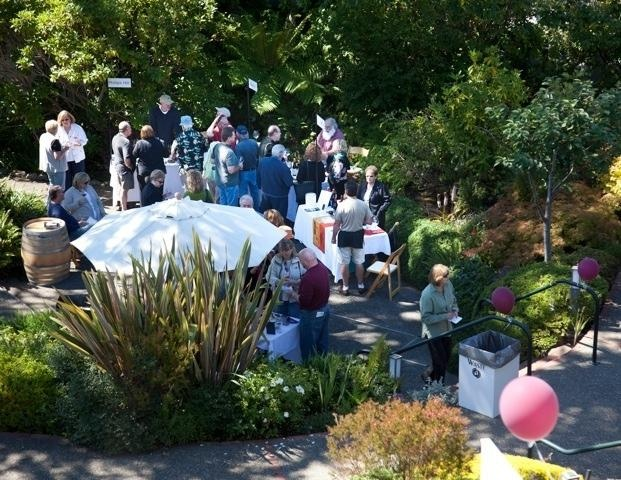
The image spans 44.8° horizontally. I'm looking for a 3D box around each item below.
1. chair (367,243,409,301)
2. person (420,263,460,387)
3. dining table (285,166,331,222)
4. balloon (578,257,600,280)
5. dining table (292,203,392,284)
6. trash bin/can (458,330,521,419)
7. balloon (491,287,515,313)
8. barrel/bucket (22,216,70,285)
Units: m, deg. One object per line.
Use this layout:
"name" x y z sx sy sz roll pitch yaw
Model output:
"chair" 1.359 0.508 13.339 0.599 0.962 1.068 5 6 11
"person" 1.707 1.153 10.239 0.495 1.672 0.539 2 3 39
"dining table" -0.246 -0.814 15.384 0.726 1.225 0.696 15 22 38
"balloon" 3.712 0.396 10.013 0.251 0.382 0.272 -1 -2 27
"dining table" 0.366 -0.027 13.691 0.924 0.596 1.795 -11 23 -23
"trash bin/can" 2.243 1.653 9.430 0.614 1.086 0.792 4 14 -7
"balloon" 2.409 0.767 9.382 0.272 0.336 0.204 3 6 -5
"barrel/bucket" -4.225 0.199 12.002 0.546 0.882 0.597 4 24 -2
